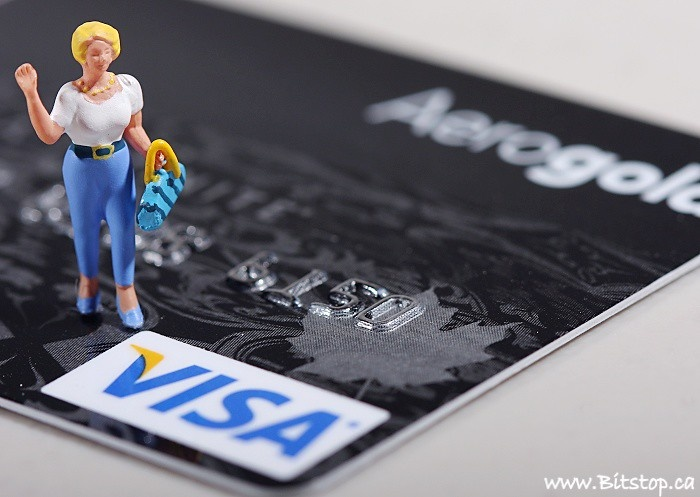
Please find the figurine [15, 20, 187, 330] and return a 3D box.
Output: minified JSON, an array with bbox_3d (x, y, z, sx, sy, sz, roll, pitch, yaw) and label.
[{"bbox_3d":[-0.381,-0.111,1.201,0.239,0.495,0.184,19,36,13],"label":"figurine"}]
